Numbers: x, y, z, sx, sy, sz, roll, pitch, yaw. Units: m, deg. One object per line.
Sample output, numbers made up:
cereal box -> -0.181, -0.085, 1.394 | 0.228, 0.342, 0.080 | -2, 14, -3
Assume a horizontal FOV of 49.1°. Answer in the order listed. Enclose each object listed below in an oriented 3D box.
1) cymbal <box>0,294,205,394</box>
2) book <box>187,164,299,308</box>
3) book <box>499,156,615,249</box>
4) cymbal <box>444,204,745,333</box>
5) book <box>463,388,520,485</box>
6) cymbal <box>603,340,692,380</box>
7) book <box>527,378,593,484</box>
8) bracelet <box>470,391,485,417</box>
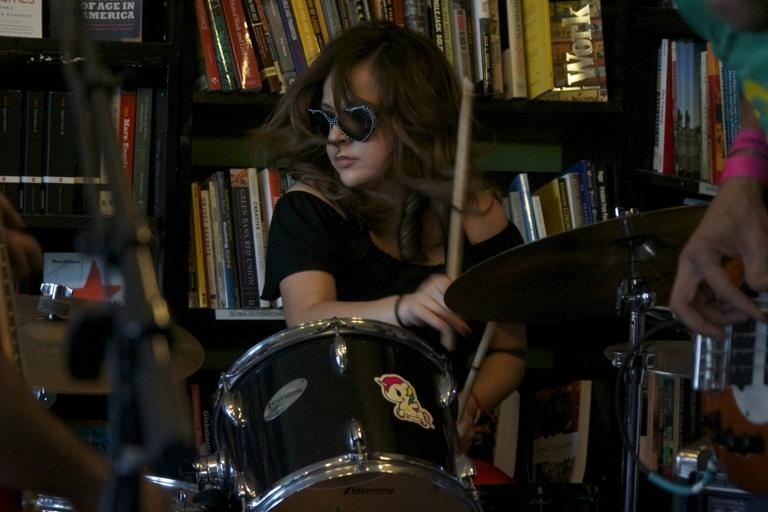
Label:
cymbal -> -0.629, 0.176, 1.929 | 0.357, 0.089, 0.379 | 12, 33, -18
book -> -0.405, -0.025, 2.578 | 0.338, 0.546, 0.365 | 3, -7, -11
book -> 0.553, -0.167, 2.622 | 0.120, 0.301, 0.286 | 4, -16, -36
cymbal -> 0.426, 0.033, 1.889 | 0.340, 0.090, 0.359 | -11, -27, -7
book -> 0.318, 0.577, 2.615 | 0.083, 0.332, 0.187 | -1, 8, -28
cymbal -> 0.729, 0.265, 2.235 | 0.147, 0.007, 0.160 | 3, 15, -10
book -> 0.555, 0.558, 2.625 | 0.050, 0.374, 0.287 | 9, -9, -22
bracelet -> 0.237, 0.382, 2.163 | 0.022, 0.070, 0.048 | -1, -17, 11
